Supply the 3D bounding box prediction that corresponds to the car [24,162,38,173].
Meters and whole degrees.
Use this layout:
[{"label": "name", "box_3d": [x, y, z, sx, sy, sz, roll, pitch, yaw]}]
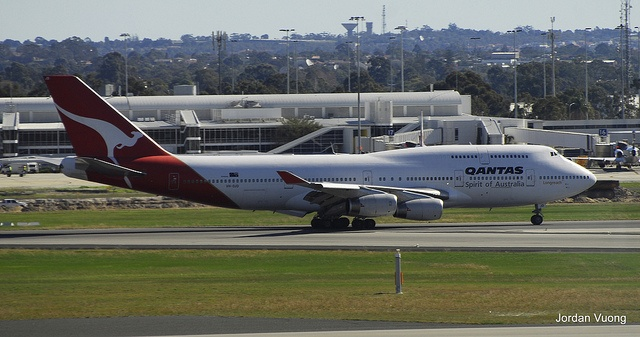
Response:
[{"label": "car", "box_3d": [-63.656, 0.000, 265.151, 1.099, 2.145, 3.018, 2, 5, 43]}]
